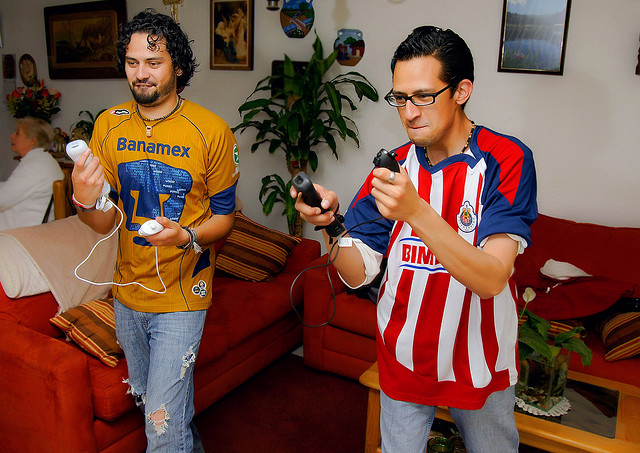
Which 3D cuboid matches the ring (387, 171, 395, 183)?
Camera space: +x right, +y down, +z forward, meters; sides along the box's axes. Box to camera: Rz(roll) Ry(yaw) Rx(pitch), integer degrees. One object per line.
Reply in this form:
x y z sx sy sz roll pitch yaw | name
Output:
0.207 -0.141 1.328 0.021 0.032 0.009 7 18 20 | ring

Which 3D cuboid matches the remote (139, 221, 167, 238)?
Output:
-0.669 0.006 1.788 0.057 0.027 0.074 31 46 20 | remote

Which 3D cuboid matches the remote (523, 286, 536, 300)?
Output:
0.986 0.316 2.151 0.057 0.083 0.031 0 1 9 | remote

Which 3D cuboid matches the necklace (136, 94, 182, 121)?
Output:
-0.721 -0.528 2.052 0.200 0.092 0.150 -8 20 -22 | necklace

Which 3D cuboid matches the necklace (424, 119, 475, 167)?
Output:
0.524 -0.303 1.681 0.124 0.195 0.009 -1 -21 23 | necklace

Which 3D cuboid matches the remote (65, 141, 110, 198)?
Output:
-0.963 -0.232 1.902 0.137 0.260 0.155 -9 20 -27 | remote

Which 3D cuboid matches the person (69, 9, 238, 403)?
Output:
-0.762 -0.050 2.099 0.617 1.742 0.589 10 20 29 | person

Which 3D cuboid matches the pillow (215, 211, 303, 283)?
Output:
-0.414 0.286 3.942 0.753 0.283 0.849 19 -24 -1 | pillow

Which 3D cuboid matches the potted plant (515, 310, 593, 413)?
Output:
1.094 0.681 2.211 0.322 0.385 0.285 3 5 0 | potted plant

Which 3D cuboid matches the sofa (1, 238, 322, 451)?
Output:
-0.862 0.641 3.108 0.898 0.908 2.312 13 22 34 | sofa

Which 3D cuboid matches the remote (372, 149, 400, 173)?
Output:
0.213 -0.203 1.415 0.091 0.055 0.045 25 -3 -26 | remote

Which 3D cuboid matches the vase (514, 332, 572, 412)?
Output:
1.091 0.735 2.182 0.266 0.268 0.125 -1 17 -3 | vase
